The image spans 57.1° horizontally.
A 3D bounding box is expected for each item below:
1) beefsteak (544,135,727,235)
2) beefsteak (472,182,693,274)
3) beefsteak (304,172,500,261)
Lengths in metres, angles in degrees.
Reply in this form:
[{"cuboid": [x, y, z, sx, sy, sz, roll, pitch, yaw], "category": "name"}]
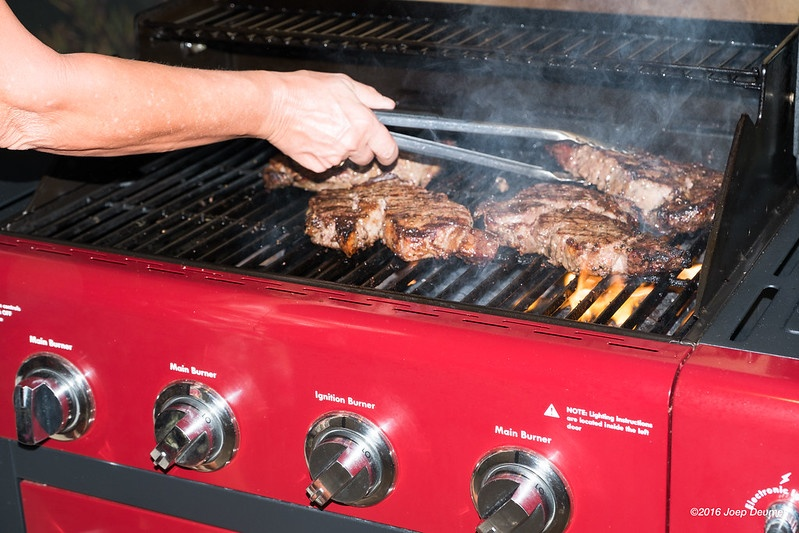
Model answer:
[{"cuboid": [0.636, -0.242, 2.009, 0.403, 0.107, 0.229, 28, 41, 29], "category": "beefsteak"}, {"cuboid": [0.448, -0.087, 1.813, 0.372, 0.076, 0.240, 18, 29, 30], "category": "beefsteak"}, {"cuboid": [0.001, -0.116, 1.895, 0.338, 0.077, 0.248, 16, 32, 20], "category": "beefsteak"}]
